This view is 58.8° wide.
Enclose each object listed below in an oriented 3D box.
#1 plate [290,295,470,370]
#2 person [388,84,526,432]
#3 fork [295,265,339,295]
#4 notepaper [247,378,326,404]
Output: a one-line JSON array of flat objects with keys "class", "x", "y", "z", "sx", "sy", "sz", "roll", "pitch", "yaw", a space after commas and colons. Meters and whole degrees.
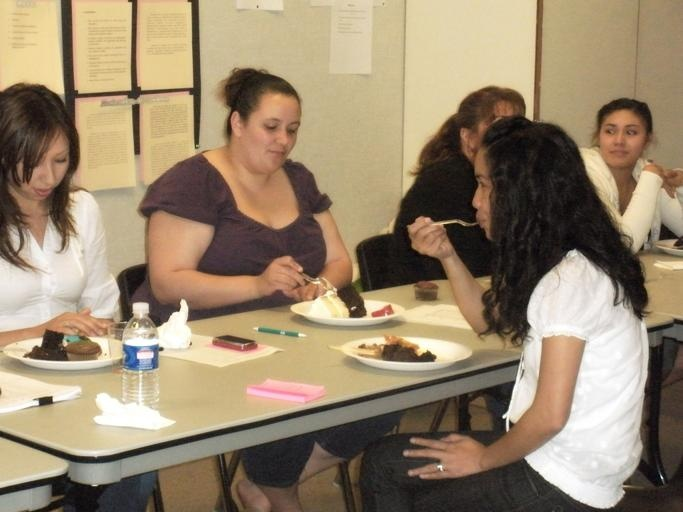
[{"class": "plate", "x": 0.104, "y": 0.173, "z": 1.845, "sx": 0.515, "sy": 0.162, "sz": 0.493, "roll": 0, "pitch": 11, "yaw": 21}, {"class": "person", "x": 0.584, "y": -0.050, "z": 3.320, "sx": 0.731, "sy": 1.583, "sz": 0.732, "roll": 7, "pitch": 13, "yaw": 29}, {"class": "fork", "x": -0.098, "y": 0.097, "z": 2.356, "sx": 0.222, "sy": 0.036, "sz": 0.038, "roll": 20, "pitch": 38, "yaw": 21}, {"class": "notepaper", "x": -0.126, "y": 0.316, "z": 1.417, "sx": 0.149, "sy": 0.032, "sz": 0.140, "roll": -4, "pitch": 7, "yaw": -35}]
